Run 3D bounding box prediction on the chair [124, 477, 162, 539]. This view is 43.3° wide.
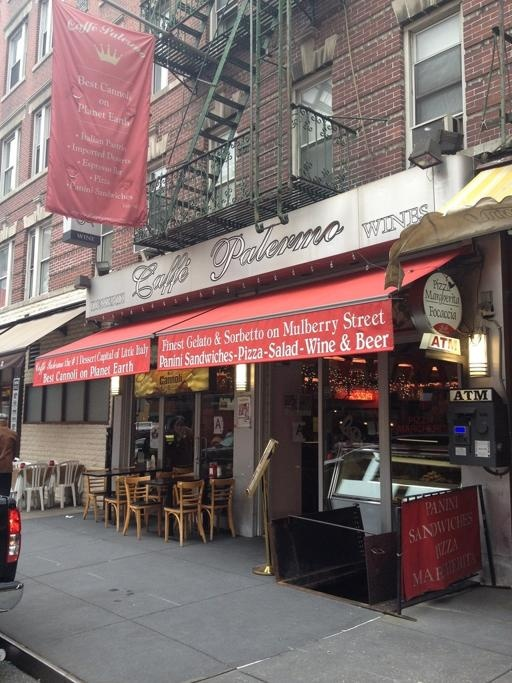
[{"bbox_3d":[-1.709,2.466,9.693,0.533,0.812,0.542,4,-11,-28],"label":"chair"}]

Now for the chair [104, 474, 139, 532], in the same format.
[{"bbox_3d":[-2.202,2.574,10.366,0.454,0.858,0.457,6,-1,-30],"label":"chair"}]

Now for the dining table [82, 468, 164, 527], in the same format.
[{"bbox_3d":[-2.690,2.728,11.328,0.613,0.809,1.147,13,-12,-7],"label":"dining table"}]

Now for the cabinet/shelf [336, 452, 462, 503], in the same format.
[{"bbox_3d":[1.686,1.550,7.366,0.306,0.284,0.907,32,-24,-36],"label":"cabinet/shelf"}]

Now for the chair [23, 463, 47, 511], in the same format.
[{"bbox_3d":[-4.263,2.705,12.271,0.513,0.837,0.593,3,3,-12],"label":"chair"}]

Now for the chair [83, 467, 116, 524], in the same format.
[{"bbox_3d":[-2.899,2.830,11.791,0.650,0.773,0.679,-2,-13,37],"label":"chair"}]

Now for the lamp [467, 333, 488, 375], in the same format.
[{"bbox_3d":[2.223,0.137,6.418,0.206,0.426,0.118,-7,-10,28],"label":"lamp"}]
